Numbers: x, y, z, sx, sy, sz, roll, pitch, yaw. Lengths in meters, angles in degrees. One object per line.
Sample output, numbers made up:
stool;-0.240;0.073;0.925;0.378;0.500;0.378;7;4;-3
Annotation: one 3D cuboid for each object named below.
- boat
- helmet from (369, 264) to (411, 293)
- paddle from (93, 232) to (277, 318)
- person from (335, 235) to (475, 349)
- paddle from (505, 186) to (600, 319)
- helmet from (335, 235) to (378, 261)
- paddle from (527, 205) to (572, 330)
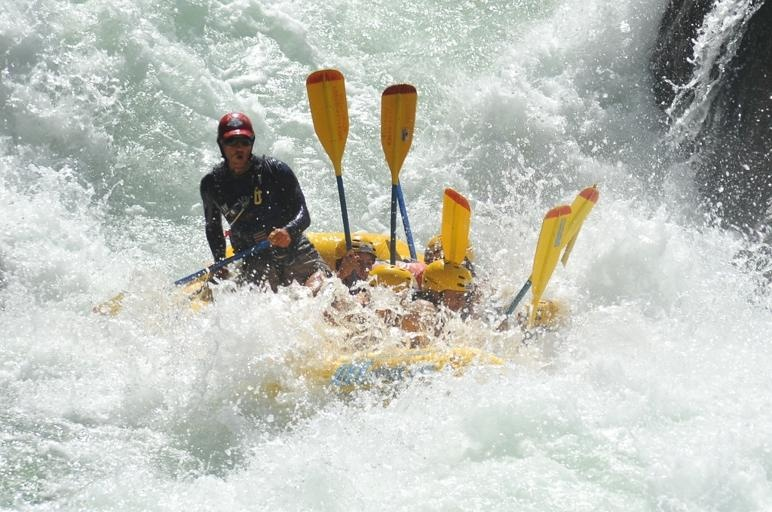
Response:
boat;-0.531;0.691;8.847;2.483;0.866;2.366;-23;55;-9
helmet;0.036;0.218;9.107;0.342;0.234;0.256;-17;98;14
paddle;-2.095;0.220;9.222;2.369;0.158;0.262;-21;98;-27
person;0.117;0.270;8.867;1.220;0.903;0.480;27;86;14
paddle;1.585;-0.112;8.701;0.497;0.224;1.632;27;105;-2
helmet;-0.304;-0.096;9.556;0.254;0.365;0.125;0;76;52
paddle;1.523;0.095;8.553;0.272;1.323;0.225;16;23;8
